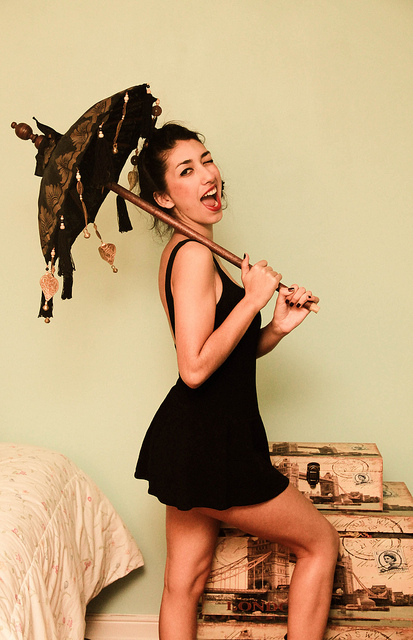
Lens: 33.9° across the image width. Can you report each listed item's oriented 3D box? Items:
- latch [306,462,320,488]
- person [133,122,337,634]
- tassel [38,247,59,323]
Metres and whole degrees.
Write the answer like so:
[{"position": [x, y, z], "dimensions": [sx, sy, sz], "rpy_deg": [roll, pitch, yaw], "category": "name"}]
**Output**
[{"position": [0.308, 0.446, 1.946], "dimensions": [0.037, 0.064, 0.016], "rpy_deg": [2, 5, 3], "category": "latch"}, {"position": [0.053, 0.164, 1.695], "dimensions": [0.485, 1.259, 0.552], "rpy_deg": [-3, 18, 0], "category": "person"}, {"position": [-0.365, -0.081, 1.578], "dimensions": [0.018, 0.204, 0.051], "rpy_deg": [-19, -30, 36], "category": "tassel"}]
